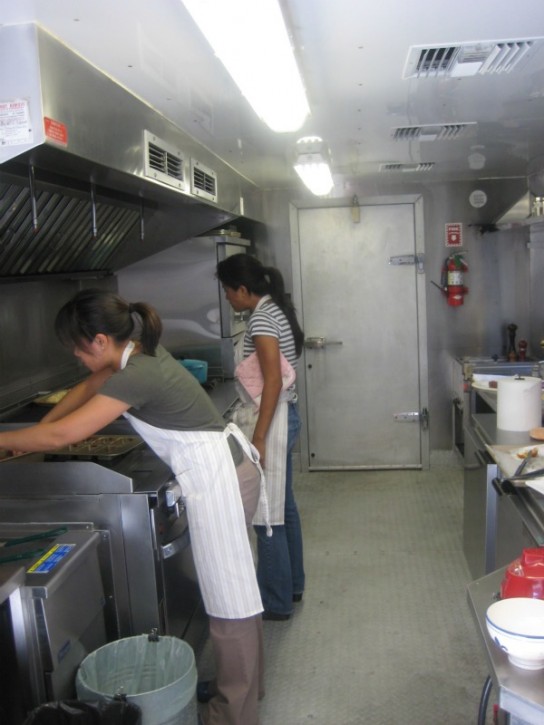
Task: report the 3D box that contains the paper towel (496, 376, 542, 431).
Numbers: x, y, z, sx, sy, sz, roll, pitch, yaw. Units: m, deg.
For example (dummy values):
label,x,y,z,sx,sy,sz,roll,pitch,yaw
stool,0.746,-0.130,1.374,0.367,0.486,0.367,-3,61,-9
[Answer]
label,x,y,z,sx,sy,sz,roll,pitch,yaw
paper towel,0.986,0.170,2.104,0.159,0.211,0.124,0,7,28

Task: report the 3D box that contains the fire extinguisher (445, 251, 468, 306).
label,x,y,z,sx,sy,sz,roll,pitch,yaw
fire extinguisher,1.385,-0.620,3.956,0.181,0.404,0.138,-2,6,15

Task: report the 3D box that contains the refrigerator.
label,x,y,z,sx,sy,sz,roll,pitch,yaw
refrigerator,-0.565,-0.420,3.849,0.826,1.172,0.921,-1,8,2

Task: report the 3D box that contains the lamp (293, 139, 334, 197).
label,x,y,z,sx,sy,sz,roll,pitch,yaw
lamp,0.195,-0.928,2.484,0.093,0.106,0.403,-5,-14,7
